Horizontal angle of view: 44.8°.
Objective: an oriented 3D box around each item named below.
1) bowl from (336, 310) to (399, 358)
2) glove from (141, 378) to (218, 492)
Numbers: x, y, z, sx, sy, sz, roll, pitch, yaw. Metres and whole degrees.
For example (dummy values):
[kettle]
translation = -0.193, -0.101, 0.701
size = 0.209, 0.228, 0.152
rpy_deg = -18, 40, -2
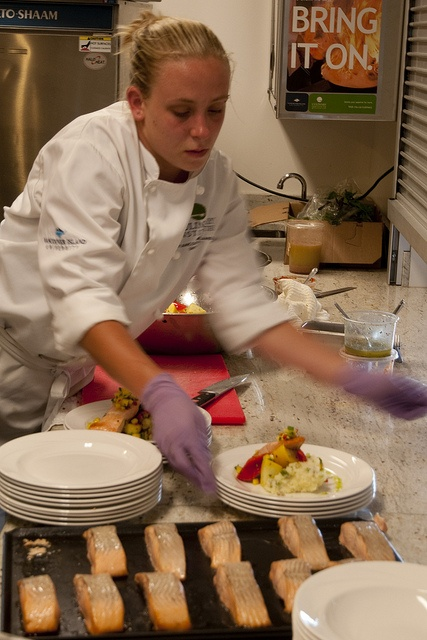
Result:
[bowl]
translation = 0.387, 0.037, 1.297
size = 0.140, 0.095, 0.128
rpy_deg = 0, 11, 0
[glove]
translation = -0.049, 0.158, 0.764
size = 0.090, 0.164, 0.063
rpy_deg = -26, -5, -13
